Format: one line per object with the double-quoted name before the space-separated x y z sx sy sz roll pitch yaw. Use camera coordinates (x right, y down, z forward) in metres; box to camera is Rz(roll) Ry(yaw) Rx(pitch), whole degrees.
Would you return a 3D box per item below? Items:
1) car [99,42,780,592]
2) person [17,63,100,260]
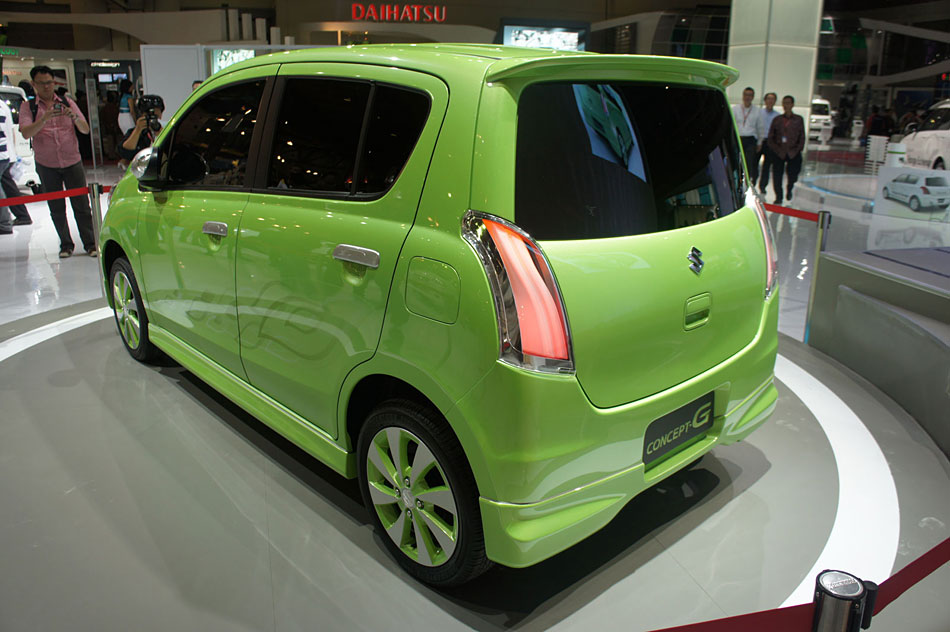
"car" -0.580 -0.545 4.008 2.385 2.181 4.424 -14 25 -42
"person" -4.943 -1.831 7.003 0.667 2.199 0.923 -12 21 -35
